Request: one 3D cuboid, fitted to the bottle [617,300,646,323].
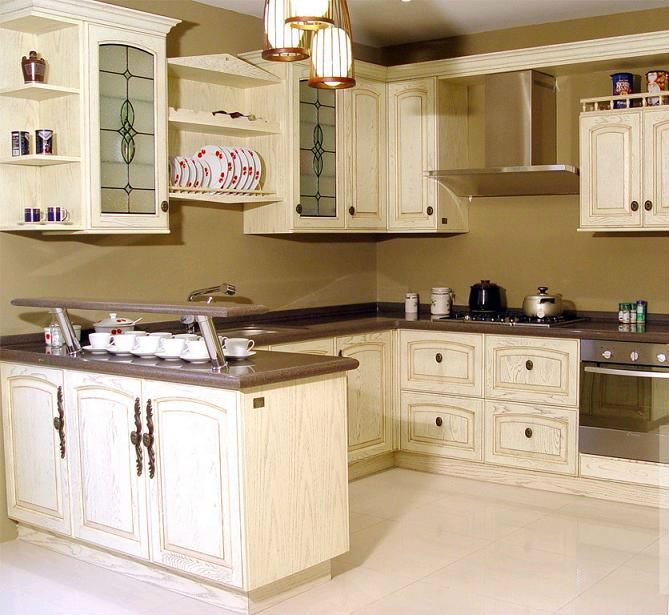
[{"bbox_3d":[1.845,0.019,3.894,0.155,0.141,0.160,0,1,-10],"label":"bottle"}]

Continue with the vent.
[{"bbox_3d":[1.269,-1.019,4.386,1.087,0.862,0.902,2,3,40],"label":"vent"}]

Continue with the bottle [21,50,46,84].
[{"bbox_3d":[-1.412,-1.124,2.953,0.104,0.174,0.249,-1,0,-24],"label":"bottle"}]

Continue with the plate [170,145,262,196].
[{"bbox_3d":[-0.708,-0.819,3.690,0.607,0.286,0.100,-1,0,-43],"label":"plate"}]

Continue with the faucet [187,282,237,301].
[{"bbox_3d":[-0.735,-0.102,3.764,0.284,0.117,0.651,-1,0,-8],"label":"faucet"}]

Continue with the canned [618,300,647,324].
[{"bbox_3d":[1.839,0.036,3.904,0.151,0.156,0.171,1,-1,-20],"label":"canned"}]

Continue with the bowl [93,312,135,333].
[{"bbox_3d":[-1.039,0.057,3.025,0.124,0.064,0.156,2,5,36],"label":"bowl"}]

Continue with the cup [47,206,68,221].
[{"bbox_3d":[-1.316,-0.441,2.977,0.085,0.075,0.089,-1,0,0],"label":"cup"}]

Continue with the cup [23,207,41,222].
[{"bbox_3d":[-1.436,-0.434,2.984,0.079,0.073,0.082,0,3,0],"label":"cup"}]

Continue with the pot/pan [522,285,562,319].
[{"bbox_3d":[1.345,-0.033,4.068,0.169,0.131,0.263,-1,-1,34],"label":"pot/pan"}]

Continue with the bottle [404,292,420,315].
[{"bbox_3d":[0.577,-0.027,4.695,0.094,0.162,0.118,-1,0,1],"label":"bottle"}]

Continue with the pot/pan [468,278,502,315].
[{"bbox_3d":[1.038,-0.069,4.369,0.252,0.249,0.244,-2,3,-16],"label":"pot/pan"}]

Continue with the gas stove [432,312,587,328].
[{"bbox_3d":[1.148,0.078,4.065,0.897,0.091,0.653,-1,0,20],"label":"gas stove"}]

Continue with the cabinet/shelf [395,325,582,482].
[{"bbox_3d":[1.039,0.549,4.044,1.449,0.898,0.781,1,1,36],"label":"cabinet/shelf"}]

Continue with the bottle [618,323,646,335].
[{"bbox_3d":[1.707,0.121,3.610,0.108,0.024,0.101,-1,4,0],"label":"bottle"}]
